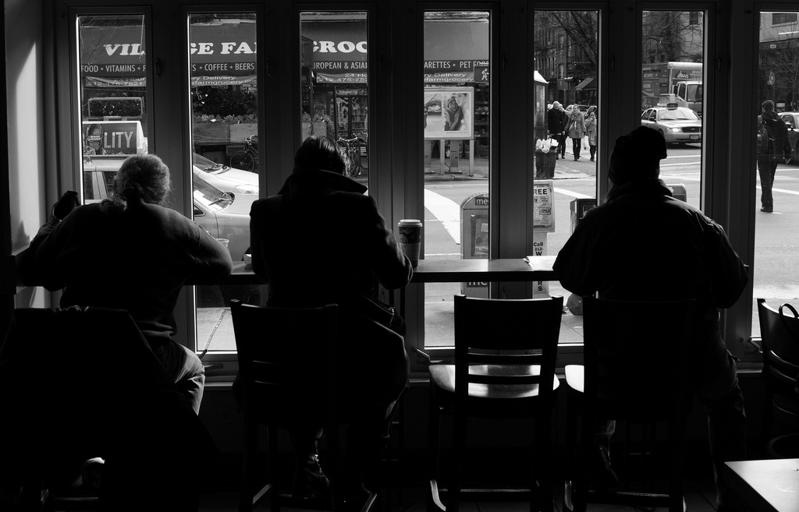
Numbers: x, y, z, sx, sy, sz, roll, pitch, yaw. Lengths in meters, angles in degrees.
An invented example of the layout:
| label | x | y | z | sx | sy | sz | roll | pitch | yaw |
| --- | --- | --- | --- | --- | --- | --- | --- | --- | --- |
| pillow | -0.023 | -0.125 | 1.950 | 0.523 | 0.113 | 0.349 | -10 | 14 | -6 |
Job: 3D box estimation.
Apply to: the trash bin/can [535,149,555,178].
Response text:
| label | x | y | z | sx | sy | sz | roll | pitch | yaw |
| --- | --- | --- | --- | --- | --- | --- | --- | --- | --- |
| trash bin/can | 0.960 | -0.602 | 5.528 | 0.171 | 0.190 | 0.161 | 0 | 2 | 0 |

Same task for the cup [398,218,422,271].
| label | x | y | z | sx | sy | sz | roll | pitch | yaw |
| --- | --- | --- | --- | --- | --- | --- | --- | --- | --- |
| cup | 0.055 | -0.085 | 5.238 | 0.190 | 0.279 | 0.184 | -3 | 3 | 0 |

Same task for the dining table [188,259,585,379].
| label | x | y | z | sx | sy | sz | roll | pitch | yaw |
| --- | --- | --- | --- | --- | --- | --- | --- | --- | --- |
| dining table | -0.098 | 0.334 | 4.630 | 2.328 | 0.653 | 0.520 | 0 | 5 | 0 |

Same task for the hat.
| label | x | y | z | sx | sy | sz | roll | pitch | yaw |
| --- | --- | --- | --- | --- | --- | --- | --- | --- | --- |
| hat | 1.293 | -0.548 | 4.530 | 0.261 | 0.319 | 0.341 | -2 | 8 | -20 |
